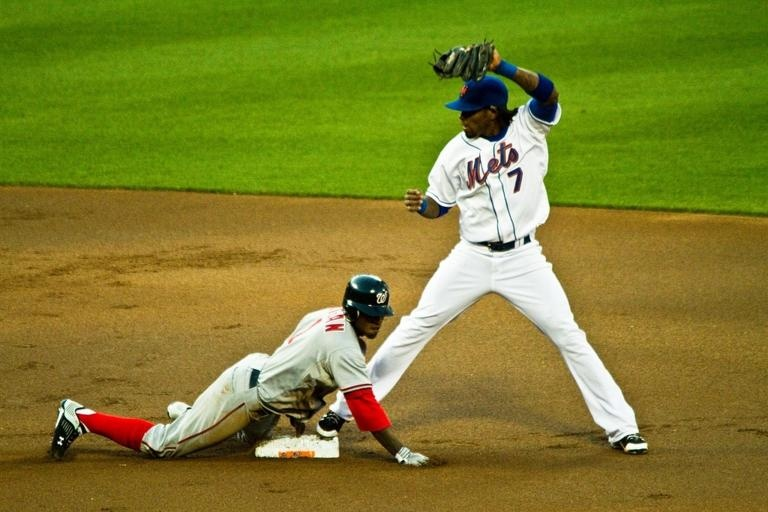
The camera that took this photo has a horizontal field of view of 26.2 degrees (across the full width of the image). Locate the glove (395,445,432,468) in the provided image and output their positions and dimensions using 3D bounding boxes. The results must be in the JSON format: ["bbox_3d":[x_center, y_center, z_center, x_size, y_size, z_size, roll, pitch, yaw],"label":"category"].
[{"bbox_3d":[0.395,2.712,22.398,0.481,0.161,0.242,5,19,16],"label":"glove"}]

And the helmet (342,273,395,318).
[{"bbox_3d":[-0.275,0.533,22.467,0.703,0.452,0.540,23,0,-22],"label":"helmet"}]

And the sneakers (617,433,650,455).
[{"bbox_3d":[3.428,2.585,22.652,0.508,0.205,0.227,-4,3,40],"label":"sneakers"}]

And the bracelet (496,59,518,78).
[{"bbox_3d":[1.653,-2.560,22.610,0.297,0.179,0.214,26,10,-8],"label":"bracelet"}]
